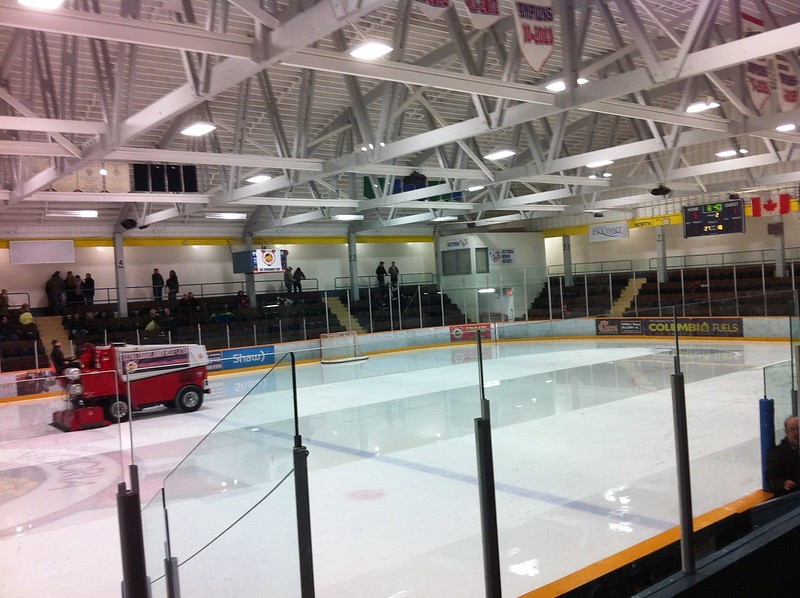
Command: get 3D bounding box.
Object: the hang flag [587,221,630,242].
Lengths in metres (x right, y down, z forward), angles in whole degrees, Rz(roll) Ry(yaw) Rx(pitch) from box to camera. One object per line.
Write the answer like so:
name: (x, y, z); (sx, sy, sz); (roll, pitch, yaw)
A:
hang flag: (10.669, -3.502, 30.410); (1.090, 0.867, 1.828); (-8, 4, -22)

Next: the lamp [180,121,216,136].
lamp: (-4.118, -3.490, 12.133); (0.478, 0.202, 0.647); (-8, 5, -39)

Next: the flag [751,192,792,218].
flag: (15.810, -4.003, 25.472); (2.235, 0.916, 0.026); (2, 8, 31)

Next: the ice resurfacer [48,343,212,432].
ice resurfacer: (-7.119, 2.078, 15.226); (2.458, 1.515, 3.956); (-3, -3, 34)

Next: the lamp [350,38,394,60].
lamp: (-0.483, -3.768, 9.073); (0.542, 0.143, 0.781); (-5, 3, -16)

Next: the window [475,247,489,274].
window: (4.732, -2.246, 34.618); (1.090, 1.407, 0.306); (-12, 5, -40)

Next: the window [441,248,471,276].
window: (3.386, -2.232, 35.738); (0.114, 1.232, 2.249); (-8, 7, -35)
